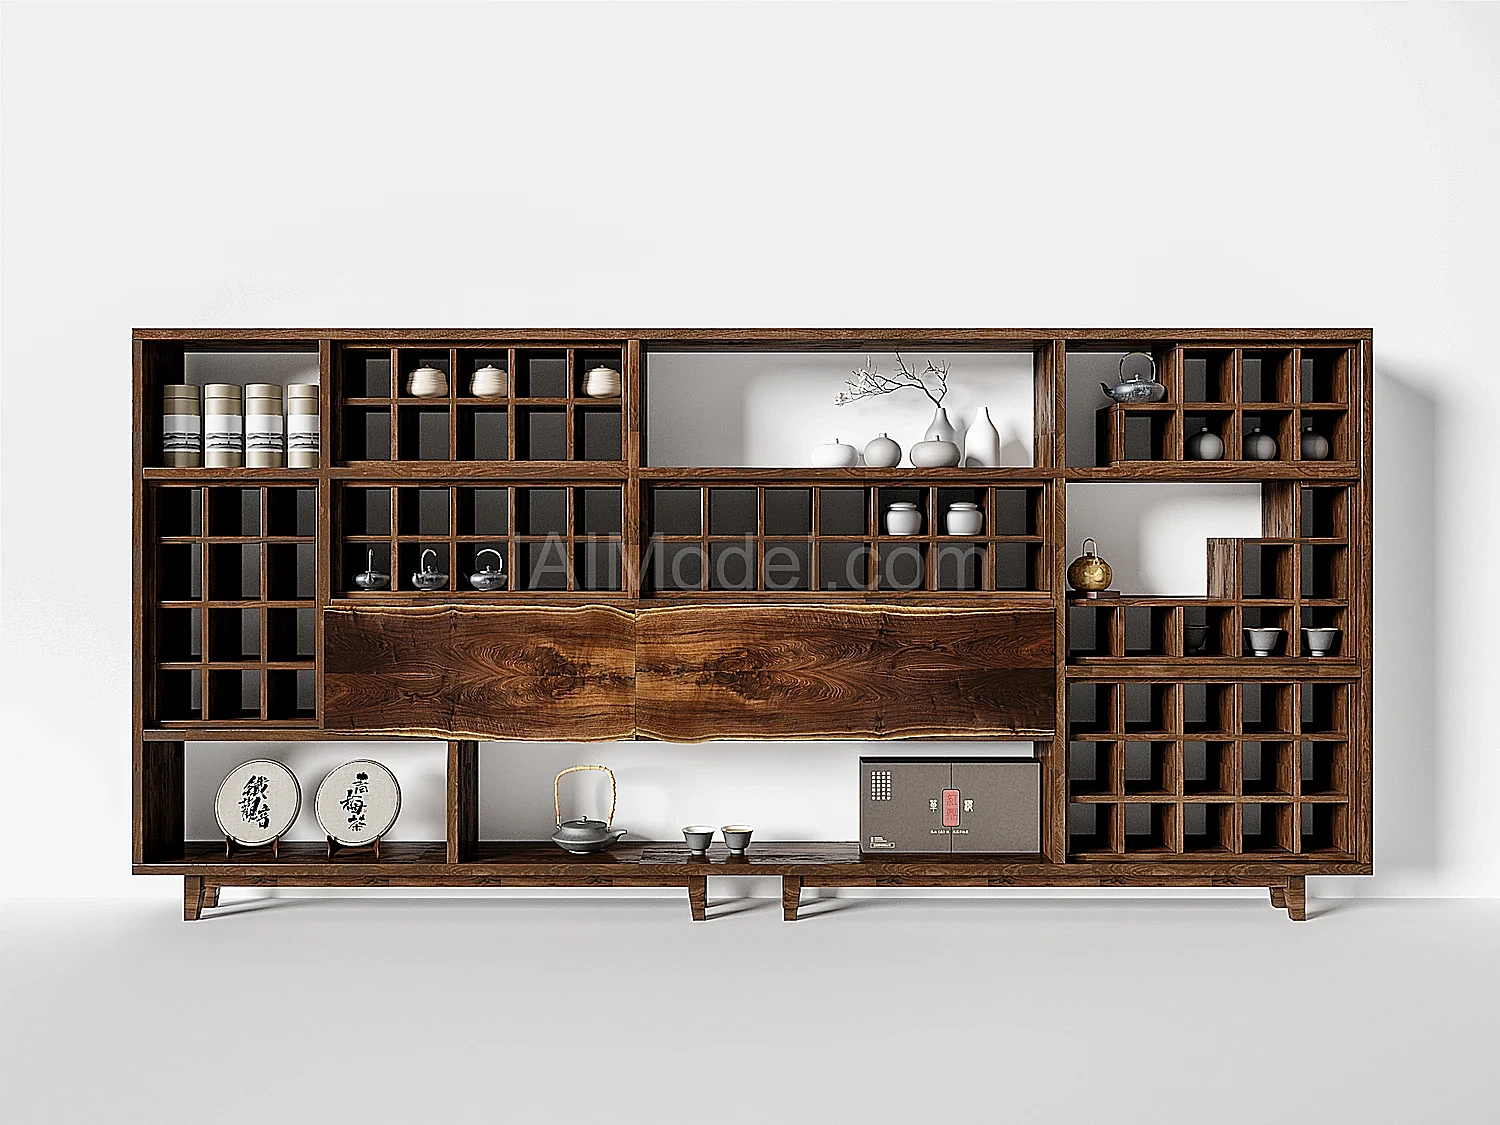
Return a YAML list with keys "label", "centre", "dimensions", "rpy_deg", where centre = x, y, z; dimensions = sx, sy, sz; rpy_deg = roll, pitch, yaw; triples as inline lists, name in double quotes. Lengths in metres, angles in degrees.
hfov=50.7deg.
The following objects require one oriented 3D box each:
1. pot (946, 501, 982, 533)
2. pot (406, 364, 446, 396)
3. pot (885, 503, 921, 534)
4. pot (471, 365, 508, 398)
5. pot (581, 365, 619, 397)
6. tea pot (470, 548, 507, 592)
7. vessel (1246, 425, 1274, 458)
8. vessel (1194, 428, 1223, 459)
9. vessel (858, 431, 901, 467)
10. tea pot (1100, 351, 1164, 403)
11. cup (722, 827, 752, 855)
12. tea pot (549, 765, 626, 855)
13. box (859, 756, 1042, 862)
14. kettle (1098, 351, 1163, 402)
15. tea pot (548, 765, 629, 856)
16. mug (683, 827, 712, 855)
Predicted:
- label: "pot"
  centre: [0.817, -0.173, 6.094]
  dimensions: [0.149, 0.093, 0.126]
  rpy_deg: [2, -9, -17]
- label: "pot"
  centre: [-1.249, -0.700, 6.118]
  dimensions: [0.157, 0.104, 0.125]
  rpy_deg: [0, -6, -4]
- label: "pot"
  centre: [0.584, -0.166, 6.120]
  dimensions: [0.139, 0.094, 0.142]
  rpy_deg: [-3, -7, 0]
- label: "pot"
  centre: [-1.010, -0.699, 6.121]
  dimensions: [0.157, 0.098, 0.130]
  rpy_deg: [0, -2, -5]
- label: "pot"
  centre: [-0.572, -0.694, 6.079]
  dimensions: [0.152, 0.099, 0.126]
  rpy_deg: [0, -6, 0]
- label: "tea pot"
  centre: [-1.041, 0.029, 6.299]
  dimensions: [0.228, 0.175, 0.151]
  rpy_deg: [-1, -4, 1]
- label: "vessel"
  centre: [1.981, -0.459, 6.075]
  dimensions: [0.130, 0.128, 0.115]
  rpy_deg: [-3, -5, 25]
- label: "vessel"
  centre: [1.763, -0.457, 6.105]
  dimensions: [0.119, 0.104, 0.112]
  rpy_deg: [4, -9, -35]
- label: "vessel"
  centre: [0.503, -0.441, 6.169]
  dimensions: [0.165, 0.115, 0.137]
  rpy_deg: [3, -8, 5]
- label: "tea pot"
  centre: [1.514, -0.722, 6.239]
  dimensions: [0.324, 0.179, 0.195]
  rpy_deg: [-1, 2, 4]
- label: "cup"
  centre: [-0.059, 1.081, 6.176]
  dimensions: [0.132, 0.071, 0.107]
  rpy_deg: [0, -12, -1]
- label: "tea pot"
  centre: [-0.649, 0.971, 6.272]
  dimensions: [0.309, 0.291, 0.265]
  rpy_deg: [-5, 4, 15]
- label: "box"
  centre: [0.769, 0.938, 6.311]
  dimensions: [0.892, 0.313, 0.396]
  rpy_deg: [0, -5, 0]
- label: "kettle"
  centre: [1.542, -0.718, 6.215]
  dimensions: [0.318, 0.176, 0.196]
  rpy_deg: [-1, 1, 15]
- label: "tea pot"
  centre: [-0.673, 0.972, 6.267]
  dimensions: [0.292, 0.284, 0.280]
  rpy_deg: [7, -1, 0]
- label: "mug"
  centre: [-0.205, 1.074, 6.133]
  dimensions: [0.127, 0.062, 0.106]
  rpy_deg: [1, -8, -6]
